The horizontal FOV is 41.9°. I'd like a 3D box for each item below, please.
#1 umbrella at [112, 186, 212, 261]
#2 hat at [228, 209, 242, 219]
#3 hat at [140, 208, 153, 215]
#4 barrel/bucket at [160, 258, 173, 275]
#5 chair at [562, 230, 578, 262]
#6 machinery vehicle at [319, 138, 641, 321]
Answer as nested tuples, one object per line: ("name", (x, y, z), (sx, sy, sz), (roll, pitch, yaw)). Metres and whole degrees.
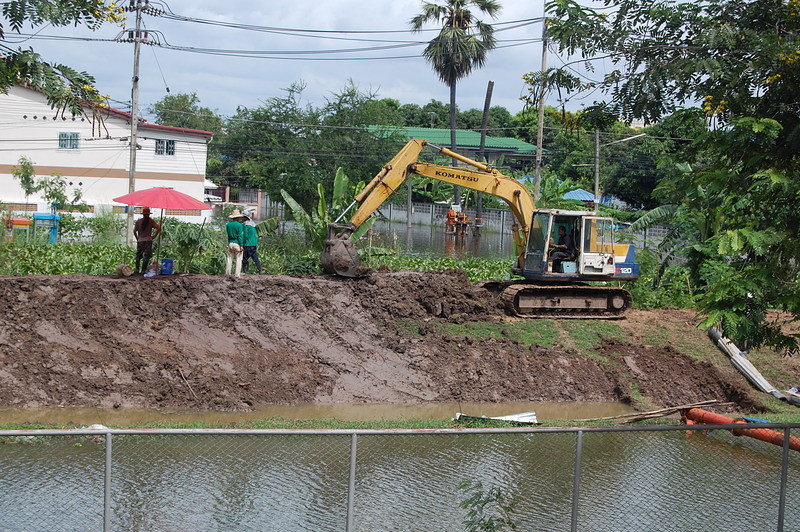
("umbrella", (-6.264, -0.936, 27.099), (2.041, 1.520, 2.172), (9, 8, 16))
("hat", (-4.364, -1.419, 27.986), (0.288, 0.132, 0.312), (-3, -1, -5))
("hat", (-6.521, -1.442, 27.024), (0.244, 0.104, 0.255), (3, -3, -22))
("barrel/bucket", (-6.060, -0.012, 27.408), (0.373, 0.411, 0.382), (1, -6, 0))
("chair", (4.609, -0.549, 28.435), (0.375, 0.664, 0.527), (7, -36, 2))
("machinery vehicle", (2.393, -0.946, 29.251), (8.367, 4.545, 3.301), (1, 5, -9))
